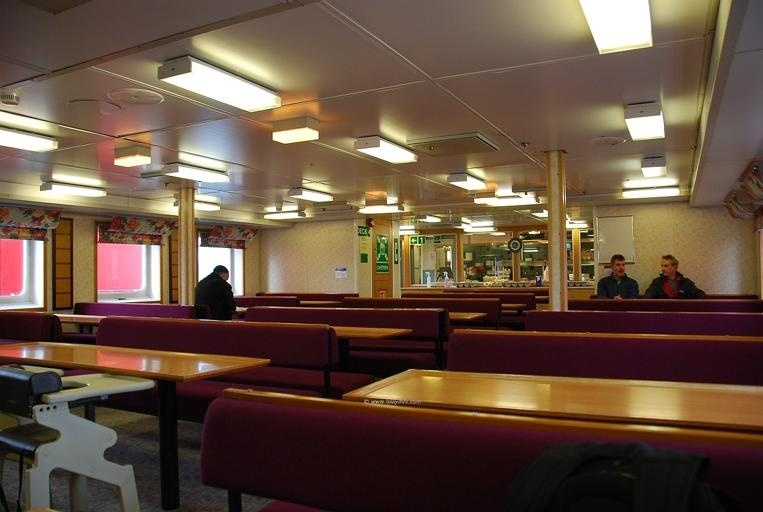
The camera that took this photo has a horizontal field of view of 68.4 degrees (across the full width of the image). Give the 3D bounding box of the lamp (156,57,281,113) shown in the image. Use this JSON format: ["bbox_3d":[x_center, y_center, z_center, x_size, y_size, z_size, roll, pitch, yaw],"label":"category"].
[{"bbox_3d":[-1.511,-1.619,5.349,0.388,0.106,0.890,-8,-11,36],"label":"lamp"}]

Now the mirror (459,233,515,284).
[{"bbox_3d":[3.585,0.134,18.954,1.758,1.516,0.627,1,0,36],"label":"mirror"}]

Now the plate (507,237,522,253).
[{"bbox_3d":[4.217,-0.348,17.784,0.419,0.472,0.342,-1,-3,12],"label":"plate"}]

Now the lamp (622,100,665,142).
[{"bbox_3d":[2.966,-1.532,6.344,0.280,0.119,0.554,-3,-7,30],"label":"lamp"}]

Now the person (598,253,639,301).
[{"bbox_3d":[4.036,0.445,9.618,0.727,0.903,0.680,-4,6,-41],"label":"person"}]

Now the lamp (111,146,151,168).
[{"bbox_3d":[-3.489,-1.386,7.816,0.512,0.240,0.225,4,19,22],"label":"lamp"}]

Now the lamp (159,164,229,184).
[{"bbox_3d":[-3.006,-1.354,9.092,0.423,0.163,1.013,-2,-3,37],"label":"lamp"}]

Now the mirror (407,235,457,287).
[{"bbox_3d":[1.721,0.131,18.844,1.697,1.494,0.126,-6,2,26],"label":"mirror"}]

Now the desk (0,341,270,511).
[{"bbox_3d":[-1.887,1.303,4.234,1.424,0.658,0.558,2,2,34],"label":"desk"}]

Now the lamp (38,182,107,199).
[{"bbox_3d":[-5.543,-1.200,10.072,0.384,0.092,0.778,-3,-1,44],"label":"lamp"}]

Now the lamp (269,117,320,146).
[{"bbox_3d":[-0.975,-1.497,6.650,0.505,0.238,0.229,1,8,29],"label":"lamp"}]
